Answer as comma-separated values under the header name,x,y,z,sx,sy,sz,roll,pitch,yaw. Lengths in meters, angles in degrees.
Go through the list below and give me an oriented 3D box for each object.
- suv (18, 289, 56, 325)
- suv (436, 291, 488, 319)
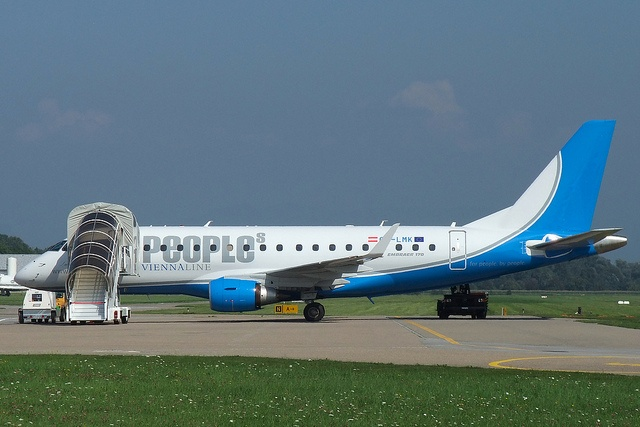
name,x,y,z,sx,sy,sz,roll,pitch,yaw
suv,-13.995,4.709,45.118,1.498,1.207,2.474,0,-3,-9
suv,7.439,4.812,46.623,1.915,1.102,2.589,0,-2,7
